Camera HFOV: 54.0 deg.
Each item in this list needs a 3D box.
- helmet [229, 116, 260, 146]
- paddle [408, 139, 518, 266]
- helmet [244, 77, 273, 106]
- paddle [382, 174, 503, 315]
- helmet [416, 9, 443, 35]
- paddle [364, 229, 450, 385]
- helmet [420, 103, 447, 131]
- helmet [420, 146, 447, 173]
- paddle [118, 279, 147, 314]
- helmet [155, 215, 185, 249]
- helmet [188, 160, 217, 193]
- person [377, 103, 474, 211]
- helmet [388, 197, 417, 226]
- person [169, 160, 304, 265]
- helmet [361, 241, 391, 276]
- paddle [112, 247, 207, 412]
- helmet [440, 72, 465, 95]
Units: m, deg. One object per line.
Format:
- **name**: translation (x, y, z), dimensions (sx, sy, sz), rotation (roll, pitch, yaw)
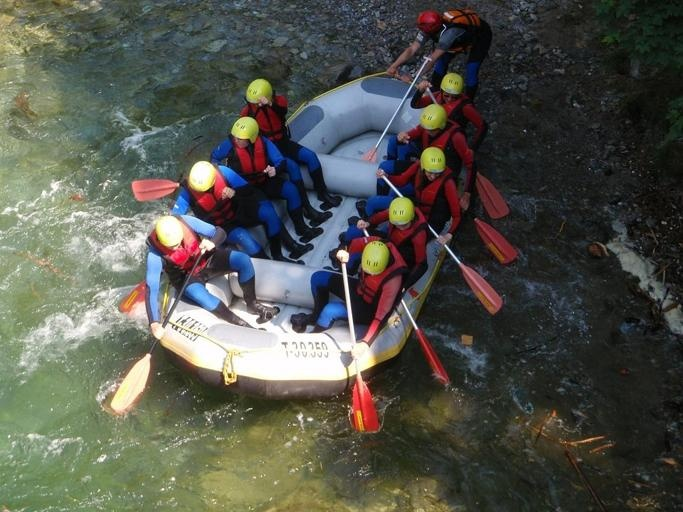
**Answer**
- **helmet**: translation (-1.261, -1.685, 8.694), dimensions (0.259, 0.281, 0.356), rotation (23, 55, 16)
- **paddle**: translation (1.616, -0.667, 9.099), dimensions (0.642, 0.466, 1.950), rotation (-41, 54, 16)
- **helmet**: translation (-1.088, -2.235, 9.186), dimensions (0.276, 0.317, 0.377), rotation (19, 34, 15)
- **paddle**: translation (1.287, -0.129, 8.759), dimensions (0.166, 0.308, 2.237), rotation (-29, 76, -42)
- **helmet**: translation (1.252, -3.311, 9.542), dimensions (0.335, 0.335, 0.270), rotation (15, 60, 26)
- **paddle**: translation (0.783, 0.637, 8.371), dimensions (0.191, 0.095, 2.168), rotation (-32, 97, -33)
- **helmet**: translation (1.215, -1.836, 8.803), dimensions (0.266, 0.290, 0.368), rotation (27, 79, 18)
- **helmet**: translation (1.160, -1.201, 8.425), dimensions (0.235, 0.255, 0.344), rotation (-1, 54, -5)
- **paddle**: translation (-2.774, 0.540, 8.901), dimensions (0.206, 0.127, 0.429), rotation (39, 89, 29)
- **helmet**: translation (-2.061, -0.292, 8.064), dimensions (0.274, 0.139, 0.408), rotation (-15, 94, -11)
- **helmet**: translation (-1.738, -0.985, 8.362), dimensions (0.387, 0.176, 0.333), rotation (-14, 77, -9)
- **person**: translation (1.151, -1.295, 8.946), dimensions (0.846, 0.954, 1.516), rotation (-46, 66, -1)
- **helmet**: translation (0.749, -0.535, 8.243), dimensions (0.330, 0.328, 0.341), rotation (11, 74, -2)
- **person**: translation (-1.331, -0.495, 8.715), dimensions (1.611, 0.901, 0.976), rotation (42, 79, 7)
- **helmet**: translation (0.385, 0.030, 7.975), dimensions (0.274, 0.303, 0.398), rotation (22, 76, 7)
- **paddle**: translation (-2.249, 0.984, 8.399), dimensions (0.252, 0.116, 2.290), rotation (30, 70, -13)
- **helmet**: translation (1.521, -2.349, 9.215), dimensions (0.227, 0.261, 0.331), rotation (7, 34, 2)
